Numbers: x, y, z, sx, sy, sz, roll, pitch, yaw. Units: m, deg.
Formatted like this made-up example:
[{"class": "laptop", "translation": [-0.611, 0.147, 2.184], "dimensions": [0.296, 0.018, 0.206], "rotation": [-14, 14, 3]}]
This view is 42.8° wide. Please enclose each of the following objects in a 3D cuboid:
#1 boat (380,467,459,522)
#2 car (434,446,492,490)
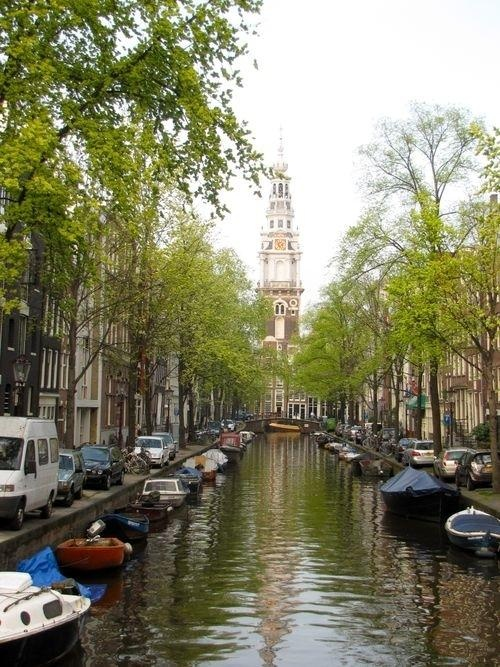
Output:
[{"class": "boat", "translation": [6.581, 6.210, 24.826], "dimensions": [1.614, 1.927, 3.660], "rotation": [3, -10, -18]}, {"class": "car", "translation": [9.513, 5.706, 27.612], "dimensions": [1.244, 0.906, 2.620], "rotation": [0, -3, 2]}]
